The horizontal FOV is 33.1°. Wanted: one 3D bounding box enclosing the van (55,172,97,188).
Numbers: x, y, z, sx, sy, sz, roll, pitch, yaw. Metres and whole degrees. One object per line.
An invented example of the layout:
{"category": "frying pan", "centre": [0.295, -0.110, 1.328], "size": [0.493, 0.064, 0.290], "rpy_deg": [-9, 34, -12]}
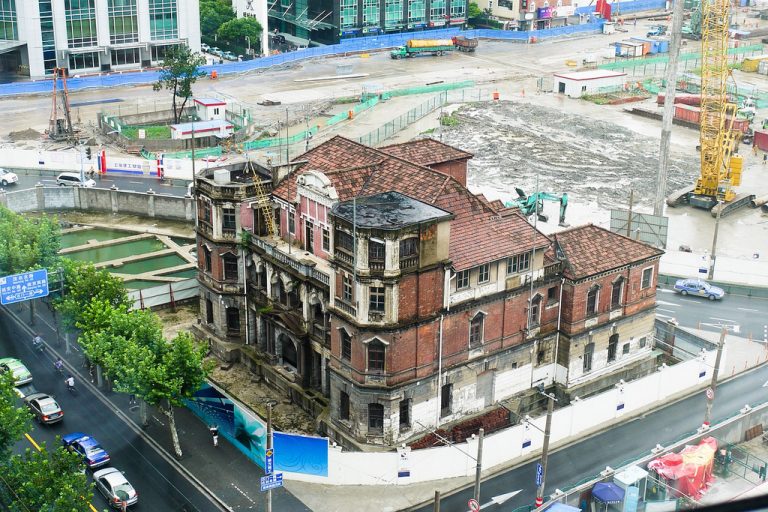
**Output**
{"category": "van", "centre": [-53.131, -13.150, 222.454], "size": [5.980, 1.944, 3.185], "rpy_deg": [2, 19, 5]}

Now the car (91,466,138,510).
{"category": "car", "centre": [-33.689, 29.213, 161.100], "size": [3.135, 2.153, 6.656], "rpy_deg": [-24, 51, -41]}

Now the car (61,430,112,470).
{"category": "car", "centre": [-38.192, 24.641, 165.780], "size": [3.955, 2.089, 7.288], "rpy_deg": [-17, 34, -41]}

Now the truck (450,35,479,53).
{"category": "truck", "centre": [20.811, -53.378, 324.932], "size": [4.095, 2.753, 5.623], "rpy_deg": [-18, 34, -34]}

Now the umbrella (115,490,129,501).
{"category": "umbrella", "centre": [-32.271, 29.693, 159.566], "size": [1.466, 1.097, 1.025], "rpy_deg": [-4, 19, -8]}
